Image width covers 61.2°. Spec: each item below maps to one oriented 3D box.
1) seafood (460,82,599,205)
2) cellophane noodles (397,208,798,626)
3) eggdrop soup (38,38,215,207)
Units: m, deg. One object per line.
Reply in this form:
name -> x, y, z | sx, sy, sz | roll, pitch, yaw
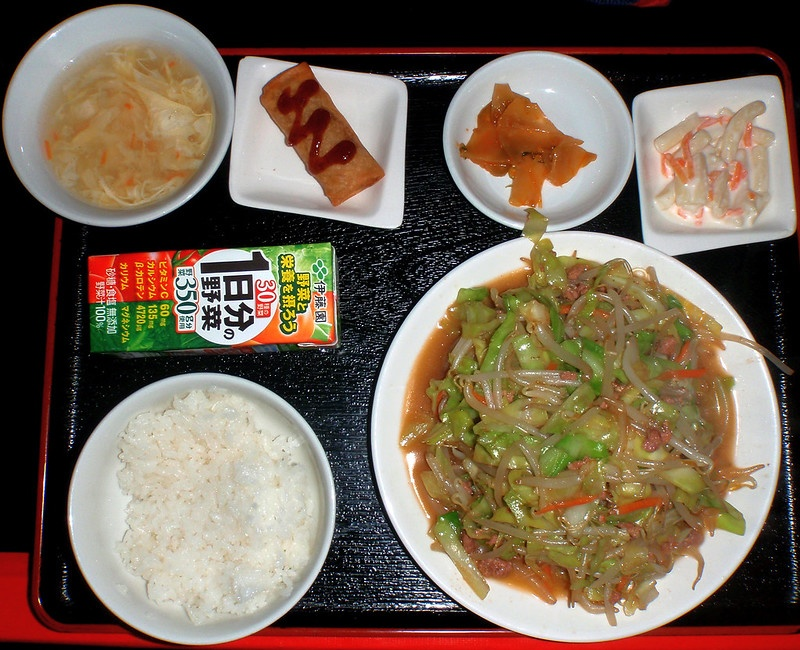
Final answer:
seafood -> 0.561, -0.798, 3.047 | 0.698, 0.518, 0.155 | 36, -8, 3
cellophane noodles -> 0.780, 0.163, 3.472 | 2.111, 1.443, 2.334 | 2, 30, -1
eggdrop soup -> -1.196, -0.883, 3.191 | 0.722, 0.717, 0.189 | -42, 1, -3
